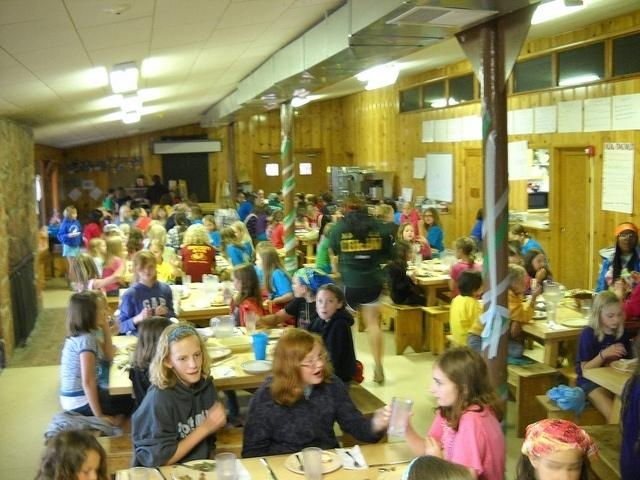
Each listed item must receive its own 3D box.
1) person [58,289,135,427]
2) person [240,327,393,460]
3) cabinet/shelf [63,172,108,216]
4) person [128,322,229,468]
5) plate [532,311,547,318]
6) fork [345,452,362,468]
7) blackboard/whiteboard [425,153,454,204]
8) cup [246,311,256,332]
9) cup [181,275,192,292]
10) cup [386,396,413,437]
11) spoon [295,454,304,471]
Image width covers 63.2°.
[{"bbox_3d":[-1.787,0.955,4.132,0.513,1.089,0.399,-7,7,-26],"label":"person"},{"bbox_3d":[-0.011,1.037,3.091,0.846,0.890,0.703,1,5,-11],"label":"person"},{"bbox_3d":[-7.442,-1.487,16.526,1.829,1.597,0.573,2,9,-8],"label":"cabinet/shelf"},{"bbox_3d":[-0.830,0.903,3.037,0.498,0.785,0.236,-7,7,-27],"label":"person"},{"bbox_3d":[2.263,0.788,5.400,0.118,0.030,0.207,0,7,27],"label":"plate"},{"bbox_3d":[0.184,1.198,2.840,0.024,0.071,0.072,-15,21,-11],"label":"fork"},{"bbox_3d":[2.741,-1.420,11.932,0.115,1.119,1.106,-7,14,-26],"label":"blackboard/whiteboard"},{"bbox_3d":[-0.617,0.765,4.853,0.149,0.179,0.149,2,0,0],"label":"cup"},{"bbox_3d":[-1.709,0.560,6.737,0.169,0.271,0.170,0,-3,0],"label":"cup"},{"bbox_3d":[0.414,0.961,2.819,0.130,0.185,0.123,12,-22,5],"label":"cup"},{"bbox_3d":[-0.104,1.189,2.785,0.037,0.012,0.072,-9,44,-7],"label":"spoon"}]
